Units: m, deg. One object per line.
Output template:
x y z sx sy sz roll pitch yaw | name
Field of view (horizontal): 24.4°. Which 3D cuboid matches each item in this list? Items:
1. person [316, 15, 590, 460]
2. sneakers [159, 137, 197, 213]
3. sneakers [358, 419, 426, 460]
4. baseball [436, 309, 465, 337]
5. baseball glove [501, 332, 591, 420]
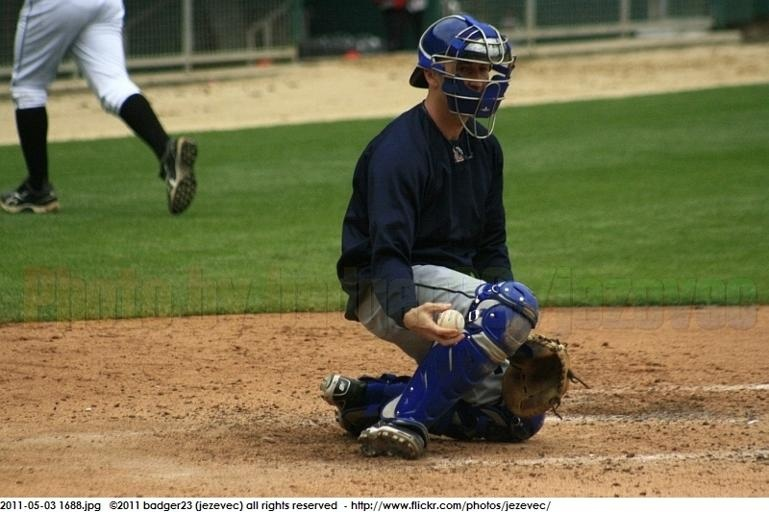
0.331 -0.128 10.360 1.303 2.437 0.760 -3 14 -2 | person
-1.260 -0.519 10.952 0.225 0.491 0.186 10 27 29 | sneakers
0.050 1.054 10.286 0.330 0.219 0.130 -7 5 -2 | sneakers
0.377 0.368 10.186 0.141 0.103 0.127 -4 0 40 | baseball
0.948 0.783 10.477 0.472 0.254 0.370 -34 22 40 | baseball glove
